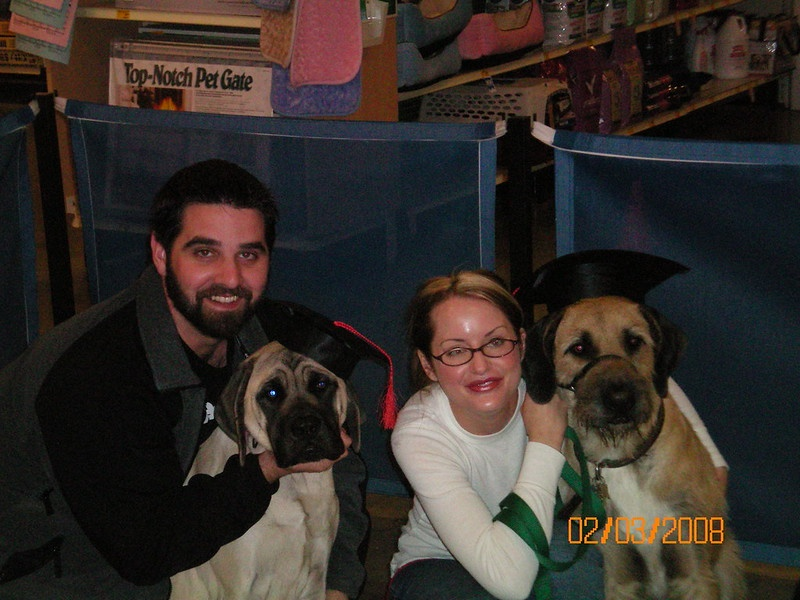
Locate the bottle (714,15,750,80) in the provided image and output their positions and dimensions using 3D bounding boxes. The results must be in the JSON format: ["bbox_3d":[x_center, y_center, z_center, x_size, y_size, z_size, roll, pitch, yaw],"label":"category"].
[{"bbox_3d":[4.631,-3.512,9.895,0.497,0.906,0.349,-1,0,7],"label":"bottle"}]

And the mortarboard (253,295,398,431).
[{"bbox_3d":[-0.279,0.161,2.626,0.532,0.204,0.490,37,0,-13],"label":"mortarboard"}]

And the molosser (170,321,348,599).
[{"bbox_3d":[-0.452,0.619,2.505,0.579,0.803,0.324,-1,0,25],"label":"molosser"}]

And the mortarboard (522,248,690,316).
[{"bbox_3d":[0.705,-0.082,2.446,0.315,0.100,0.308,-5,1,-34],"label":"mortarboard"}]

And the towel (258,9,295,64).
[{"bbox_3d":[-0.635,-1.366,3.685,0.076,0.317,0.320,-3,11,-36],"label":"towel"}]
